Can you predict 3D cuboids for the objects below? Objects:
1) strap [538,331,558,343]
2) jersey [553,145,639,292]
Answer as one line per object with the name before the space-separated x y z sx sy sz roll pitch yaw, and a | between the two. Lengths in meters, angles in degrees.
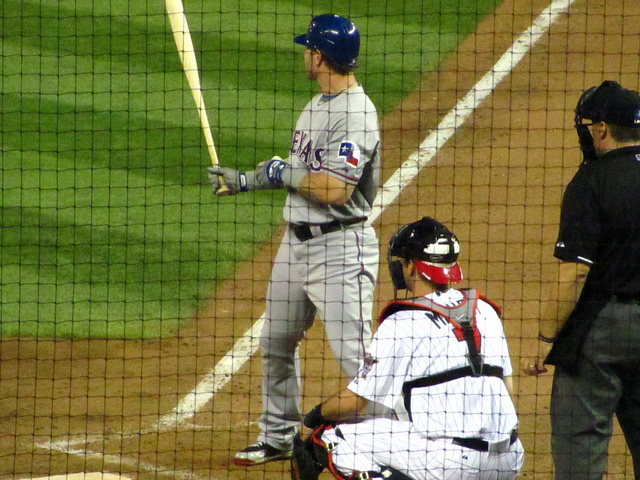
strap | 1.912 0.823 11.683 0.158 0.084 0.047 0 -1 13
jersey | 2.296 -0.181 11.577 0.672 1.226 0.186 0 -1 11
